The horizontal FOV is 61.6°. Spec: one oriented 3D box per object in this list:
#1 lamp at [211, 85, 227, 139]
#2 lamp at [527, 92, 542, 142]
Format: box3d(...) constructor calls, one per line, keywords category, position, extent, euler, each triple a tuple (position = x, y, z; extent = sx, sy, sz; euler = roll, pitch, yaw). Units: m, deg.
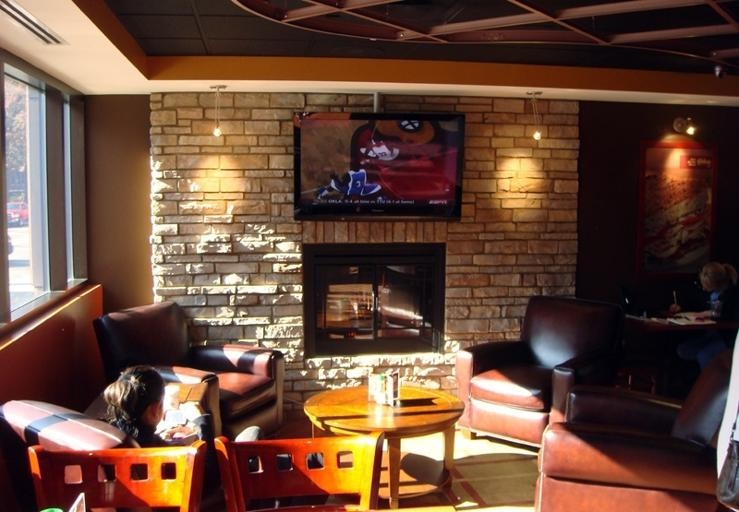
box3d(category="lamp", position=(-1.304, -1.246, 5.383), extent=(0.129, 0.421, 0.233), euler=(-1, 4, -13))
box3d(category="lamp", position=(1.529, -1.272, 5.704), extent=(0.141, 0.412, 0.286), euler=(1, 4, 15))
